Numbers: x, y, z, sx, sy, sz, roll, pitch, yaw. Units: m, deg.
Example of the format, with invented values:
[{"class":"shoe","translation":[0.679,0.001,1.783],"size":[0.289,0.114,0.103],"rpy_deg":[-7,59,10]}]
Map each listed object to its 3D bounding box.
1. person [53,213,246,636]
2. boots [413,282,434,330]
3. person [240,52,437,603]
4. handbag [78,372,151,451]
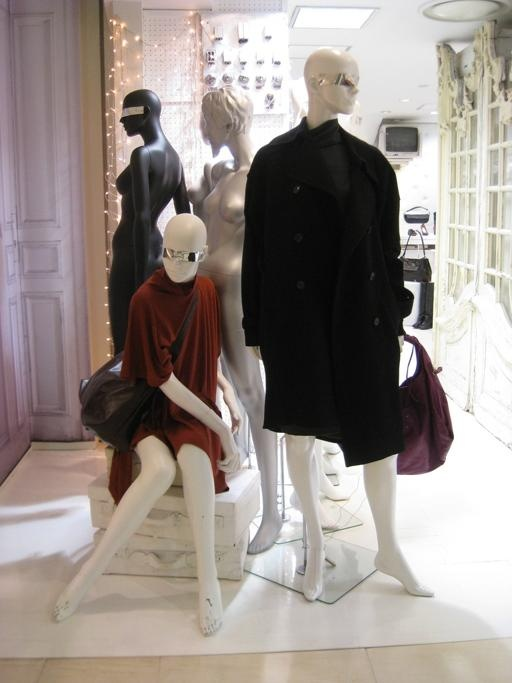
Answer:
[{"class":"person","translation":[-0.294,0.204,1.714],"size":[0.462,1.152,0.461],"rpy_deg":[0,4,9]},{"class":"boots","translation":[1.757,-0.380,5.802],"size":[0.237,0.529,0.285],"rpy_deg":[5,25,11]},{"class":"person","translation":[0.177,-0.211,1.534],"size":[0.486,1.080,0.226],"rpy_deg":[1,5,18]},{"class":"handbag","translation":[-0.449,0.210,1.729],"size":[0.227,0.233,0.073],"rpy_deg":[45,18,23]}]
